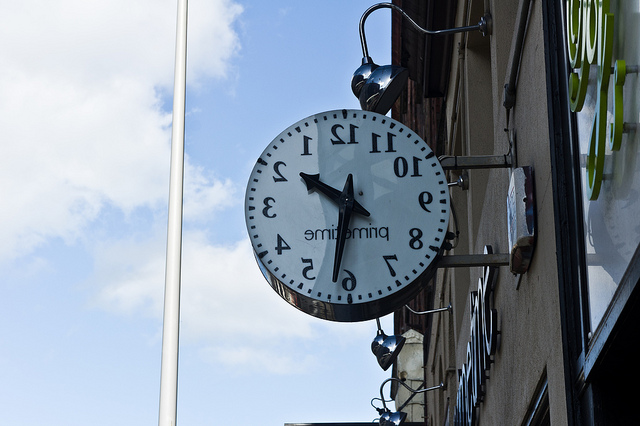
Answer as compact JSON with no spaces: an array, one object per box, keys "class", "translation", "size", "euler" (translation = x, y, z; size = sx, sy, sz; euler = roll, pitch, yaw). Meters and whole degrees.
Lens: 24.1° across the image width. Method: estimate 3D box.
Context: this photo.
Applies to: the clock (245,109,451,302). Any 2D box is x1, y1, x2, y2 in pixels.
[{"class":"clock","translation":[0.298,0.181,15.875],"size":[1.795,0.504,2.002],"euler":[-1,72,2]}]
